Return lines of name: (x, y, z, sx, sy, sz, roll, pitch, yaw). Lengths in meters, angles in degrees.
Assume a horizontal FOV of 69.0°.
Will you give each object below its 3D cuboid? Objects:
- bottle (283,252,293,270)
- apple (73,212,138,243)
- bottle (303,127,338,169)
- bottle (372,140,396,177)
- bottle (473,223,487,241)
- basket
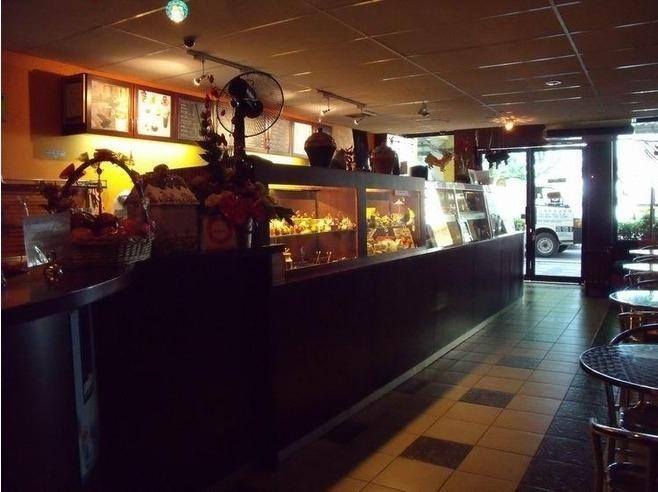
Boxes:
bottle: (-0.302, 0.122, 3.641, 0.106, 0.156, 0.110, 0, 9, 0)
apple: (-1.048, -0.090, 2.268, 0.296, 0.132, 0.190, -3, 6, -29)
bottle: (-0.068, -0.813, 3.981, 0.248, 0.302, 0.253, 2, 7, 26)
bottle: (0.550, -0.832, 4.681, 0.257, 0.307, 0.332, 0, 5, 8)
bottle: (2.118, -0.177, 6.706, 0.187, 0.350, 0.188, -2, 12, 0)
basket: (-1.070, -0.191, 2.448, 0.499, 0.559, 0.516, -2, 2, -26)
